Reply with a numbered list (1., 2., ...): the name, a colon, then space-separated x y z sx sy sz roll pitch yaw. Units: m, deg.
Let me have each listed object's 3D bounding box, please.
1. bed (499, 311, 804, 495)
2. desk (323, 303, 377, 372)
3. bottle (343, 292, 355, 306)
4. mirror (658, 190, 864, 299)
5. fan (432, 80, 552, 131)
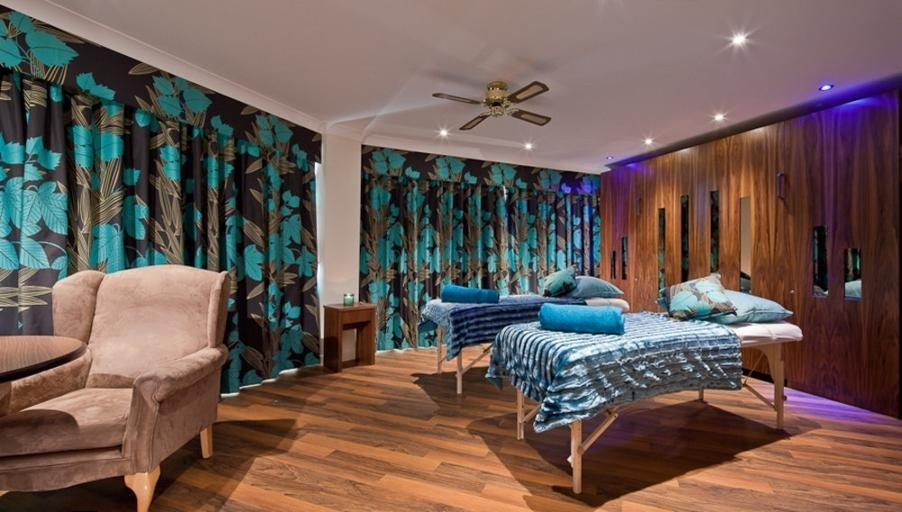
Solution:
1. bed: 1.909 1.257 5.175 2.723 0.897 1.375 0 -3 -20
2. desk: -1.252 0.992 6.796 0.593 0.798 0.379 0 -3 -33
3. bottle: -1.256 0.527 6.796 0.154 0.134 0.140 1 -4 -11
4. mirror: 3.624 -0.129 6.294 0.034 0.971 1.579 4 -4 -35
5. fan: 0.494 -1.667 5.921 1.184 0.317 1.049 11 1 -24
